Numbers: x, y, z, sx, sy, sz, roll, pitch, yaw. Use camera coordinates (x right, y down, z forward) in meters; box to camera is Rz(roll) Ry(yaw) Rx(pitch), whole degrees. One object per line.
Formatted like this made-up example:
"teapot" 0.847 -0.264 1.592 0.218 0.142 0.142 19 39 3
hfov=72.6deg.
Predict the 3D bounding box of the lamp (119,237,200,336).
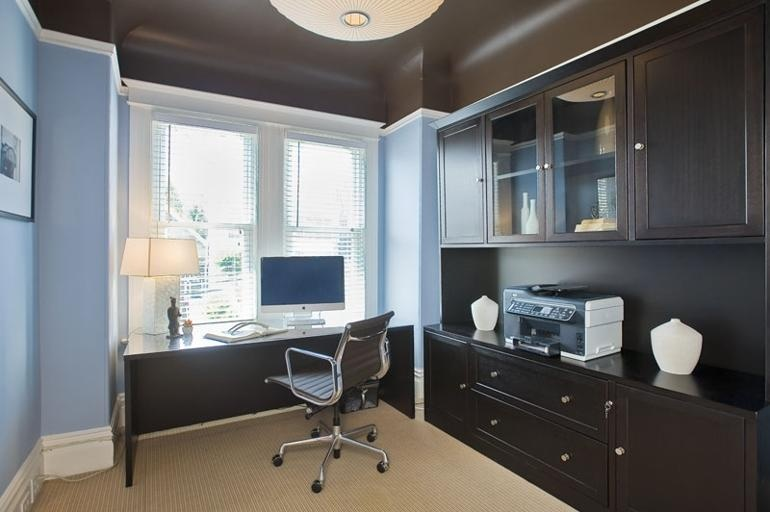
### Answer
"lamp" -1.697 0.179 4.438 0.553 0.887 0.583 -1 1 10

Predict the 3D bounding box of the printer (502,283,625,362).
"printer" 1.313 0.359 3.738 0.501 0.434 0.698 1 0 -37

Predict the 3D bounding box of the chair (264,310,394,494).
"chair" -0.395 1.028 4.019 0.931 1.148 0.839 0 4 31

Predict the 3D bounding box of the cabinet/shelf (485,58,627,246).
"cabinet/shelf" 1.235 -0.703 3.702 0.483 1.331 1.367 4 -6 -38

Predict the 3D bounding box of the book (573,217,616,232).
"book" 1.418 -0.210 3.530 0.272 0.093 0.020 -1 2 44

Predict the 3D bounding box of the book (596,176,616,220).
"book" 1.475 -0.383 3.484 0.022 0.288 0.129 -3 2 -34
